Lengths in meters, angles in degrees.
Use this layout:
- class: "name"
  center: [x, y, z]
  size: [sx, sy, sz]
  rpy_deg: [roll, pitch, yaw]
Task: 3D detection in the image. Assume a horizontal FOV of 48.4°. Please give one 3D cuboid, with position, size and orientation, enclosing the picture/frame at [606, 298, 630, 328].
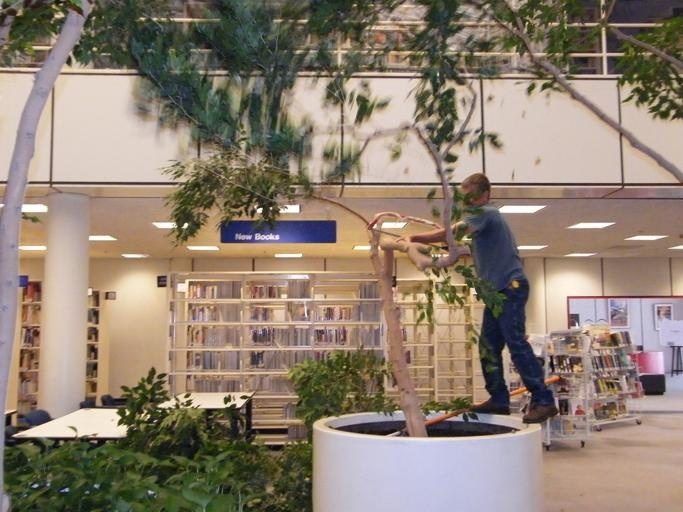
- class: "picture/frame"
  center: [7.024, 1.490, 19.483]
  size: [0.852, 1.047, 0.098]
  rpy_deg: [11, -18, -37]

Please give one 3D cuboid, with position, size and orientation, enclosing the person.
- class: "person"
  center: [0.993, 0.268, 5.054]
  size: [0.542, 1.710, 1.135]
  rpy_deg: [-9, -11, 28]

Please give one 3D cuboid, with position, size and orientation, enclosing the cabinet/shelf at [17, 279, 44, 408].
- class: "cabinet/shelf"
  center: [-5.280, 1.533, 12.932]
  size: [0.318, 2.221, 0.835]
  rpy_deg: [1, -11, -22]

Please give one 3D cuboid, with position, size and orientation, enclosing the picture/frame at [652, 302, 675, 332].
- class: "picture/frame"
  center: [8.478, 1.665, 20.102]
  size: [0.682, 1.099, 0.070]
  rpy_deg: [0, -7, 9]

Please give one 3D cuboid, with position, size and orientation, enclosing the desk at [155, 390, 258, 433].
- class: "desk"
  center: [-1.278, 1.589, 7.891]
  size: [0.702, 0.440, 4.371]
  rpy_deg: [-2, -11, -8]

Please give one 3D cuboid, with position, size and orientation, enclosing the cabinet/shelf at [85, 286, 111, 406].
- class: "cabinet/shelf"
  center: [-4.360, 1.603, 13.581]
  size: [0.350, 1.975, 0.667]
  rpy_deg: [-5, -10, 13]
